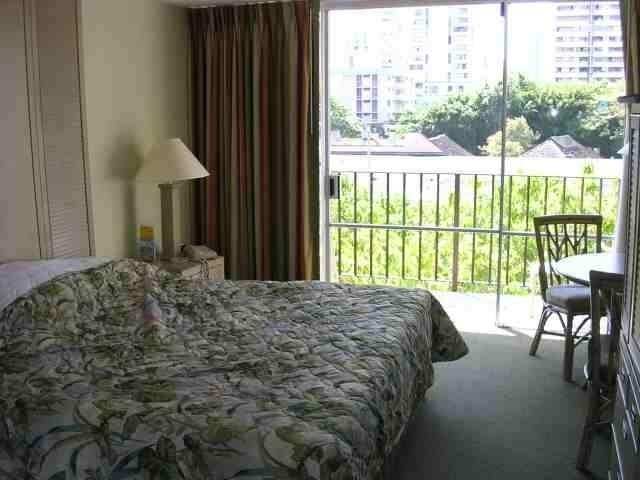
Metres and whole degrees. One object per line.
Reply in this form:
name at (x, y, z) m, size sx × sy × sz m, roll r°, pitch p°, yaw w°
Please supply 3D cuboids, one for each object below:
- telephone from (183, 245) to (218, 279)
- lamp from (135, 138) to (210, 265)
telephone at (-1.131, 0.184, 4.633) m, size 0.281 × 0.317 × 0.258 m, roll 3°, pitch 8°, yaw 31°
lamp at (-1.342, -0.343, 4.521) m, size 0.570 × 1.043 × 0.483 m, roll 4°, pitch 12°, yaw 23°
